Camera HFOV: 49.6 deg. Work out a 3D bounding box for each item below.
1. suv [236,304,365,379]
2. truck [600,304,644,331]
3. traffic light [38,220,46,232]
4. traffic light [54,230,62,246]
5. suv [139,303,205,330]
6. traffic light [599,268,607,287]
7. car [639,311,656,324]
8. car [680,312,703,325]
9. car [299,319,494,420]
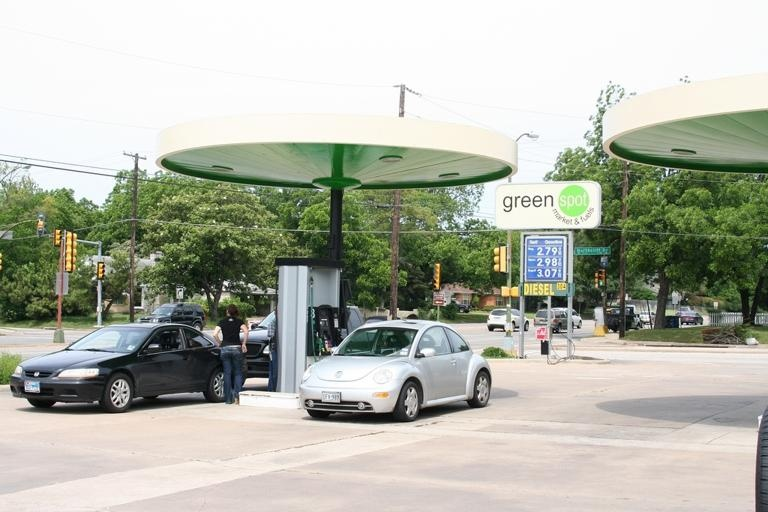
[{"bbox_3d":[-2.252,2.603,25.113,1.909,1.826,3.588,-5,-10,35],"label":"suv"},{"bbox_3d":[19.858,5.133,68.801,2.472,1.843,5.159,0,1,25],"label":"truck"},{"bbox_3d":[-21.002,-1.798,51.163,0.276,0.798,1.155,1,-1,-29],"label":"traffic light"},{"bbox_3d":[-19.380,-1.153,49.801,0.380,1.024,1.319,1,-1,-19],"label":"traffic light"},{"bbox_3d":[-12.454,3.556,50.144,2.002,1.680,3.805,-7,-13,42],"label":"suv"},{"bbox_3d":[14.881,1.487,56.804,0.303,1.185,0.844,1,-1,32],"label":"traffic light"},{"bbox_3d":[25.469,5.926,80.376,1.117,0.970,1.996,0,-11,4],"label":"car"},{"bbox_3d":[31.116,6.278,84.138,1.996,1.341,3.857,1,-1,21],"label":"car"},{"bbox_3d":[0.360,2.647,19.748,4.406,2.276,1.905,2,-1,-42],"label":"car"}]
